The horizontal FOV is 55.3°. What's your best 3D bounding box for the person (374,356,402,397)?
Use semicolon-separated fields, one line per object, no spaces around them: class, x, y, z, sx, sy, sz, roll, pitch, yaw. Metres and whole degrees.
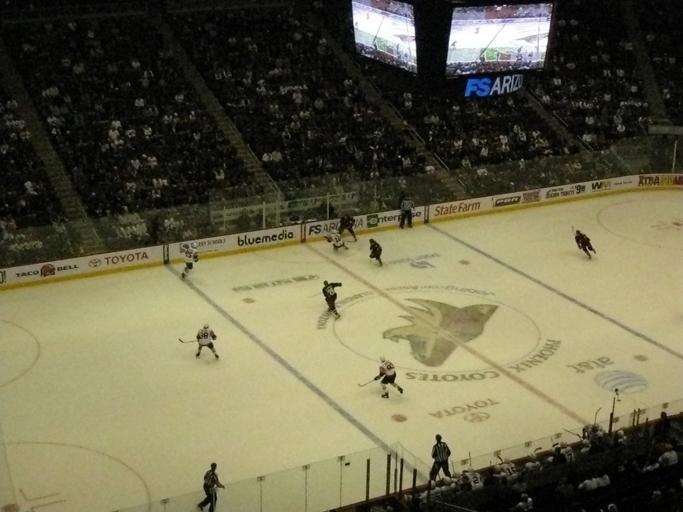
person;1.465;3.769;20.405;0.905;1.336;0.641;-3;9;7

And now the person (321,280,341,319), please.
person;-0.434;1.751;25.439;0.454;1.171;0.959;26;39;32

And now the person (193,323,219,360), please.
person;-4.587;2.852;22.090;0.725;1.317;0.373;3;23;-4
